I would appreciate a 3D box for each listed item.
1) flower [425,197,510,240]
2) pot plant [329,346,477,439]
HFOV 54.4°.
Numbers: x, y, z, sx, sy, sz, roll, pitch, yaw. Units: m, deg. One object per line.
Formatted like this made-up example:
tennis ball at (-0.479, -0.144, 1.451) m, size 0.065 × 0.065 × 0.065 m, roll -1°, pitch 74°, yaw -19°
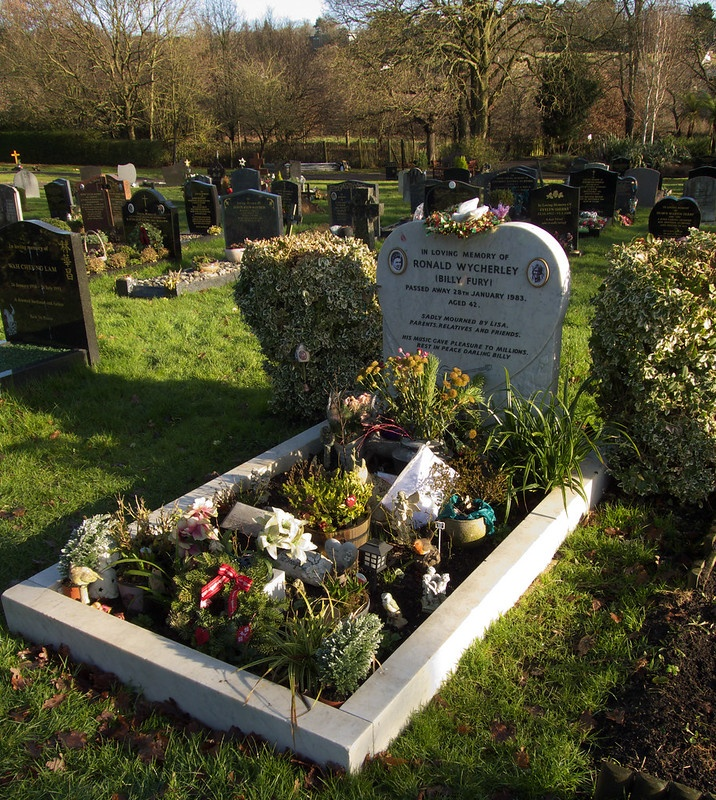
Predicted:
flower at (0.789, -1.344, 5.228) m, size 0.624 × 0.280 × 0.416 m, roll 7°, pitch 19°, yaw 20°
pot plant at (0.378, 0.016, 4.891) m, size 0.874 × 0.495 × 0.682 m, roll -7°, pitch 21°, yaw -32°
